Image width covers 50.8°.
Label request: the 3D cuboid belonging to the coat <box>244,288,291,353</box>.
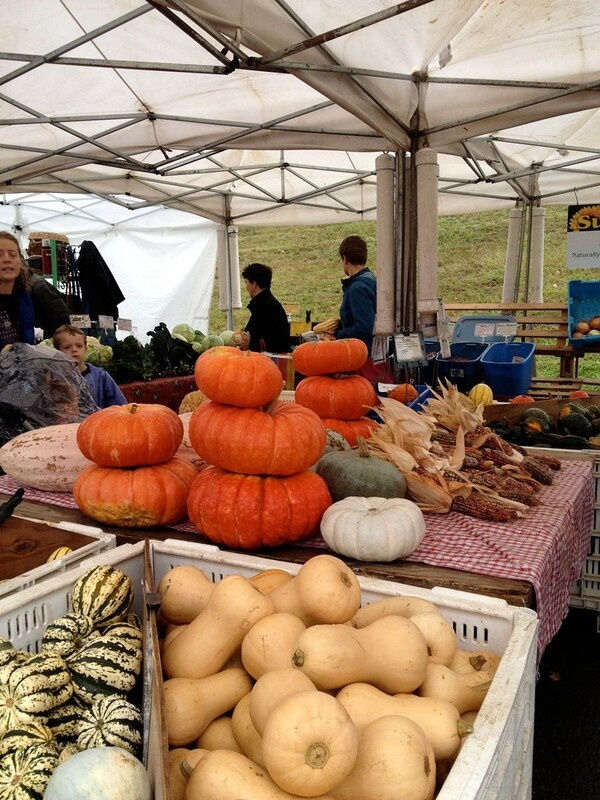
[{"bbox_3d":[-0.354,-0.839,7.194,0.419,0.659,0.738,-7,-1,28],"label":"coat"}]

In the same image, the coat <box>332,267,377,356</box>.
[{"bbox_3d":[0.548,-0.781,5.975,0.512,0.836,0.707,-8,14,11],"label":"coat"}]

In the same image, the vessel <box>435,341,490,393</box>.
[{"bbox_3d":[1.403,-0.290,5.416,0.495,0.320,0.889,3,10,22],"label":"vessel"}]

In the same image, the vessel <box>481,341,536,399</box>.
[{"bbox_3d":[1.679,-0.234,5.107,0.421,0.325,0.677,1,14,26],"label":"vessel"}]
